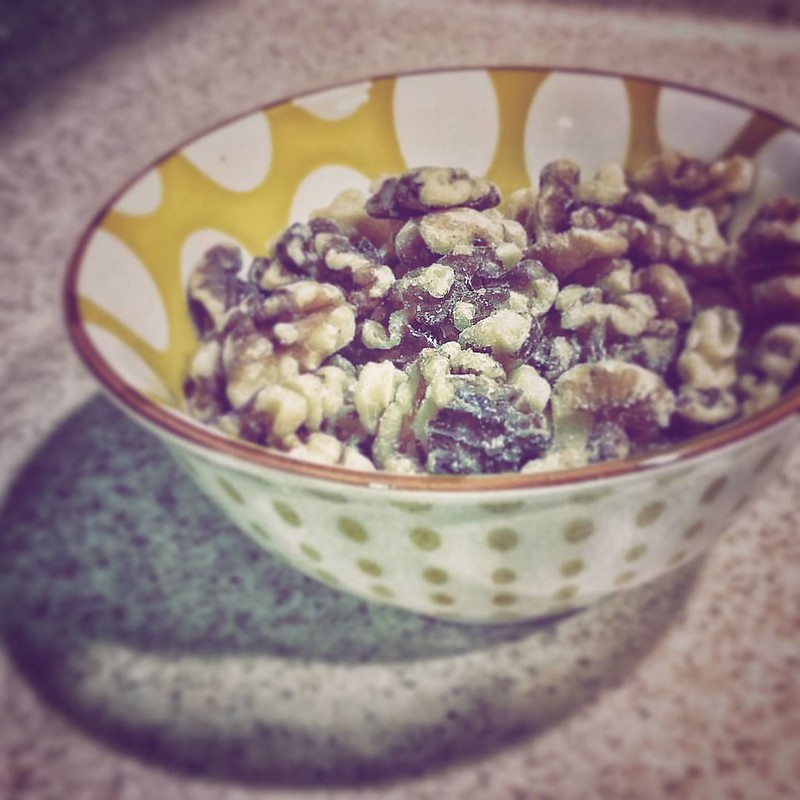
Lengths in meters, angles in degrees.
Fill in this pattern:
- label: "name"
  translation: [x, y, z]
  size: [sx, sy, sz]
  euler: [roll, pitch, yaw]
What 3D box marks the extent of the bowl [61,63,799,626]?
- label: "bowl"
  translation: [0.035, -0.070, 0.607]
  size: [0.378, 0.148, 0.373]
  euler: [0, 57, 0]
